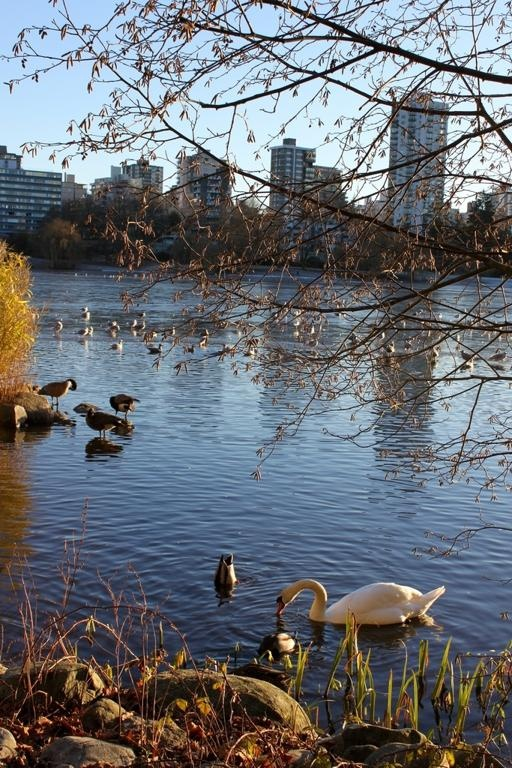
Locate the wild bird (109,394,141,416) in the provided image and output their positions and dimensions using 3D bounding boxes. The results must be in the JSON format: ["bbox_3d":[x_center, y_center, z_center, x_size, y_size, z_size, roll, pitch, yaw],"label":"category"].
[{"bbox_3d":[-2.961,0.496,21.334,0.296,0.512,0.922,0,-11,-18],"label":"wild bird"}]
